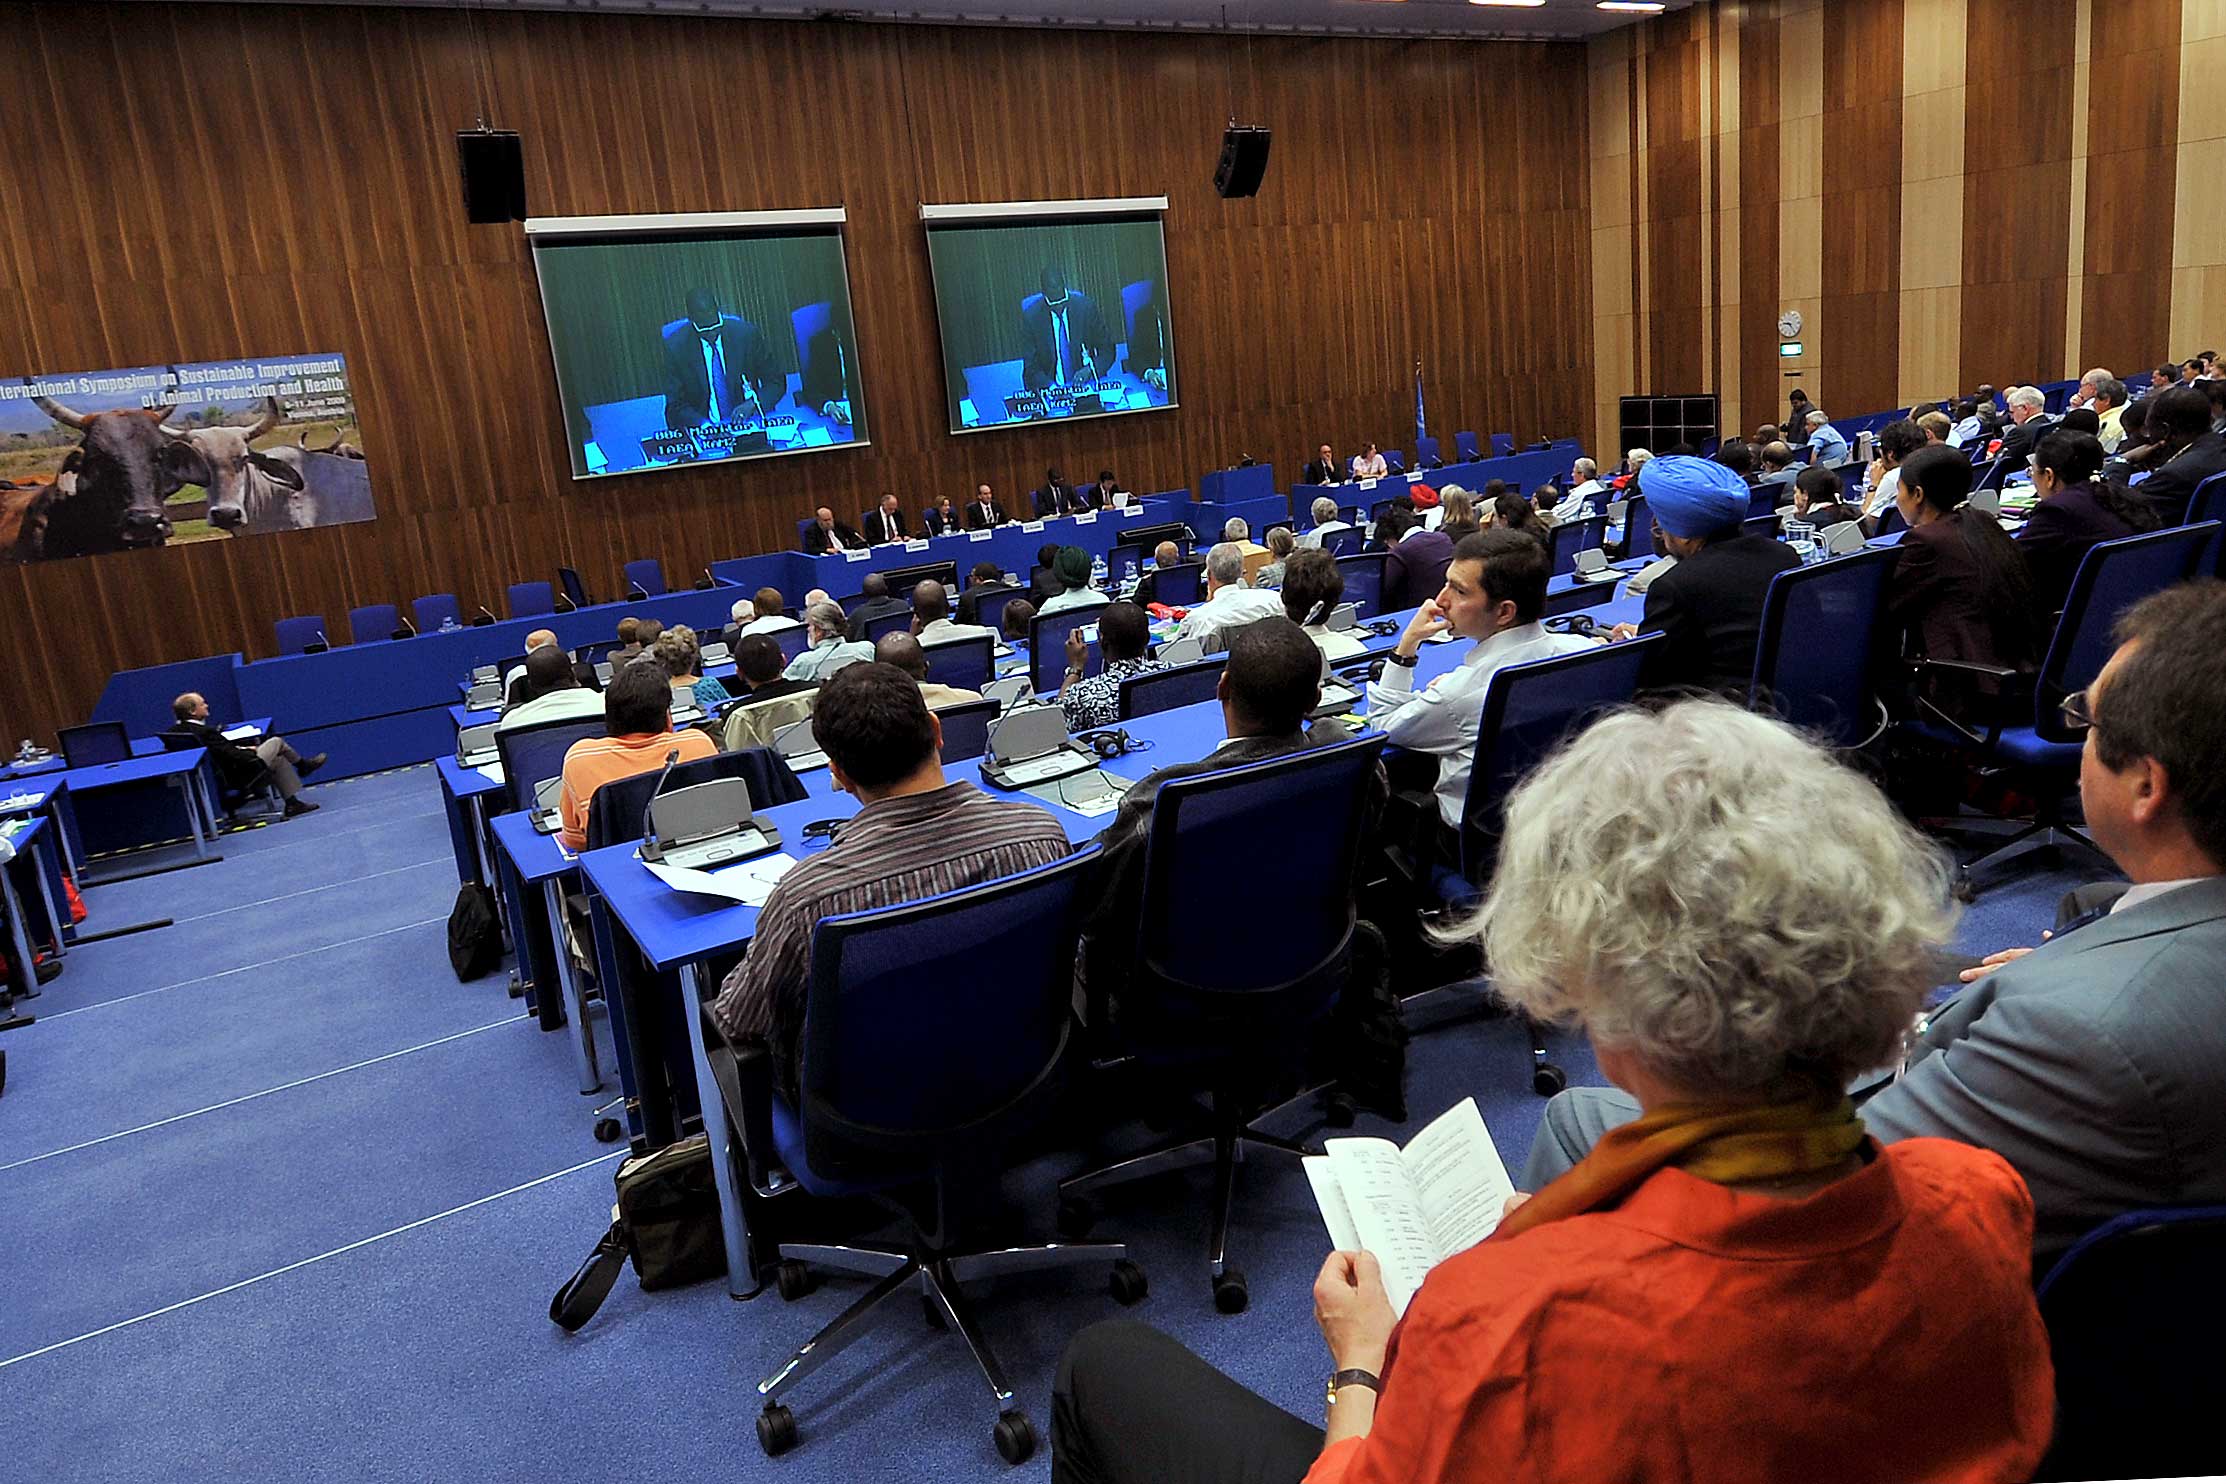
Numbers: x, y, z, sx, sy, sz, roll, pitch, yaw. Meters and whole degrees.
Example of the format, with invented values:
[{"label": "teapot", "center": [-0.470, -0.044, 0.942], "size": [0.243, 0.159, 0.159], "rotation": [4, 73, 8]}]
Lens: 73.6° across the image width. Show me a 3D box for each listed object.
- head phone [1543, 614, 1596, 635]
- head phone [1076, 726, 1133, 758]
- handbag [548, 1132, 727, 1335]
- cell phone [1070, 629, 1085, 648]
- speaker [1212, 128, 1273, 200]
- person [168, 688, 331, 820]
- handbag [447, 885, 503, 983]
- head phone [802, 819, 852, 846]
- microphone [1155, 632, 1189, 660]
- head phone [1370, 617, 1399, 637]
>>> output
[{"label": "head phone", "center": [1.758, -0.449, 5.691], "size": [0.134, 0.048, 0.094], "rotation": [-1, 10, -15]}, {"label": "head phone", "center": [-0.007, -0.002, 4.720], "size": [0.096, 0.048, 0.135], "rotation": [11, 10, 27]}, {"label": "handbag", "center": [-1.224, 1.283, 4.008], "size": [0.209, 0.335, 0.584], "rotation": [12, 30, 42]}, {"label": "cell phone", "center": [-0.178, -0.538, 7.670], "size": [0.037, 0.103, 0.072], "rotation": [2, 4, 17]}, {"label": "speaker", "center": [1.233, -5.634, 14.327], "size": [0.488, 0.594, 0.525], "rotation": [-9, 16, 0]}, {"label": "person", "center": [-5.853, 0.084, 10.025], "size": [0.445, 0.925, 0.763], "rotation": [17, 29, 27]}, {"label": "handbag", "center": [-2.694, 0.827, 6.304], "size": [0.200, 0.400, 0.415], "rotation": [0, 1, -29]}, {"label": "head phone", "center": [-0.784, 0.250, 4.072], "size": [0.084, 0.031, 0.085], "rotation": [-9, 10, 10]}, {"label": "microphone", "center": [0.244, -0.388, 6.113], "size": [0.134, 0.127, 0.084], "rotation": [2, 1, -26]}, {"label": "head phone", "center": [1.148, -0.484, 6.245], "size": [0.094, 0.033, 0.092], "rotation": [-12, 18, -35]}]
